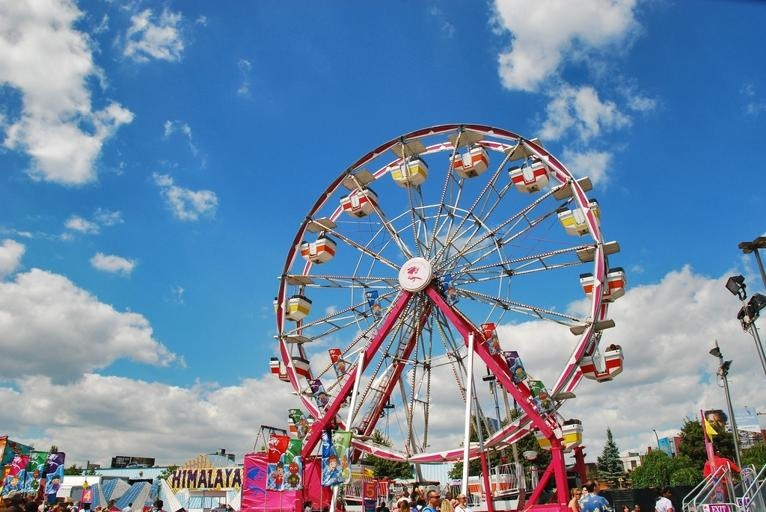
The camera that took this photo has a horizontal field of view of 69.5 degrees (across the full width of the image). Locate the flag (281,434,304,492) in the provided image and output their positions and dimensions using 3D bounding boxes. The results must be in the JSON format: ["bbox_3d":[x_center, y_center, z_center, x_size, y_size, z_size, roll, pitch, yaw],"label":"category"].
[{"bbox_3d":[-4.673,10.720,28.587,1.006,2.456,0.663,3,-30,-6],"label":"flag"}]

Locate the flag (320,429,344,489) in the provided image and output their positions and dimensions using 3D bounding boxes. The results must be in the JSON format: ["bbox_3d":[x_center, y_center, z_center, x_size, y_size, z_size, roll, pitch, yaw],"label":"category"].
[{"bbox_3d":[-2.381,9.580,26.348,0.955,2.488,0.883,2,-30,-3],"label":"flag"}]

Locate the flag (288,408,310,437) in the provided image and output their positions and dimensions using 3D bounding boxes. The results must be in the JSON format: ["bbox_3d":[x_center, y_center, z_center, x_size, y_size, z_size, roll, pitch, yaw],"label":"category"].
[{"bbox_3d":[-4.993,10.074,32.823,1.319,1.737,1.284,-1,-30,1],"label":"flag"}]
